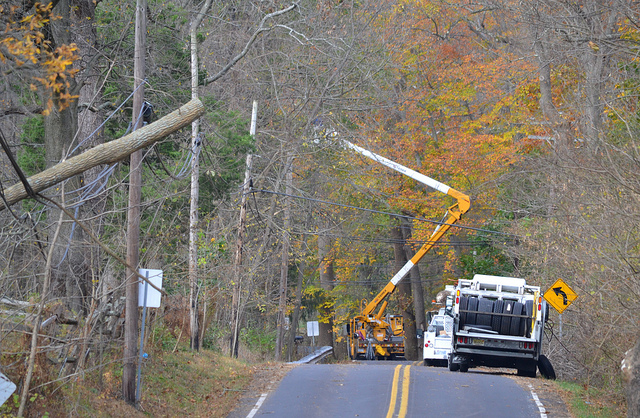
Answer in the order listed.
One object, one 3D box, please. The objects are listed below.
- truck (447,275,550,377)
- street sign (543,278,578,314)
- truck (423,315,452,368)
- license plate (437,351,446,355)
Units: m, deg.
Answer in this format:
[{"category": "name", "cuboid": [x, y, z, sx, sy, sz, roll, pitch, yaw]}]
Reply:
[{"category": "truck", "cuboid": [6.380, 4.080, 27.888, 3.456, 3.236, 5.133, 3, -4, 13]}, {"category": "street sign", "cuboid": [8.531, 3.062, 27.309, 1.074, 1.205, 0.090, -44, -20, 23]}, {"category": "truck", "cuboid": [4.896, 5.272, 31.157, 1.344, 1.295, 2.056, 0, -3, 1]}, {"category": "license plate", "cuboid": [4.866, 5.707, 30.917, 0.325, 0.155, 0.029, -2, -15, 20]}]
